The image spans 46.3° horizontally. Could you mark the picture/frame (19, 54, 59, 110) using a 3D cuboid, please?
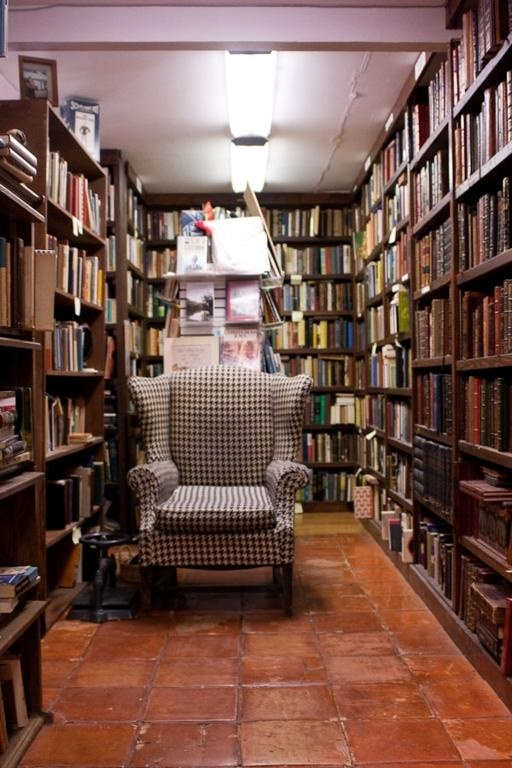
[{"bbox_3d":[-0.800,-1.101,2.200,0.133,0.199,0.019,-2,-5,-17],"label":"picture/frame"}]

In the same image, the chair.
[{"bbox_3d":[-0.154,0.397,2.598,0.824,1.123,0.852,0,-9,0],"label":"chair"}]

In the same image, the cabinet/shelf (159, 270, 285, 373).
[{"bbox_3d":[-0.162,-0.308,3.107,0.628,0.517,0.448,0,-4,-10],"label":"cabinet/shelf"}]
